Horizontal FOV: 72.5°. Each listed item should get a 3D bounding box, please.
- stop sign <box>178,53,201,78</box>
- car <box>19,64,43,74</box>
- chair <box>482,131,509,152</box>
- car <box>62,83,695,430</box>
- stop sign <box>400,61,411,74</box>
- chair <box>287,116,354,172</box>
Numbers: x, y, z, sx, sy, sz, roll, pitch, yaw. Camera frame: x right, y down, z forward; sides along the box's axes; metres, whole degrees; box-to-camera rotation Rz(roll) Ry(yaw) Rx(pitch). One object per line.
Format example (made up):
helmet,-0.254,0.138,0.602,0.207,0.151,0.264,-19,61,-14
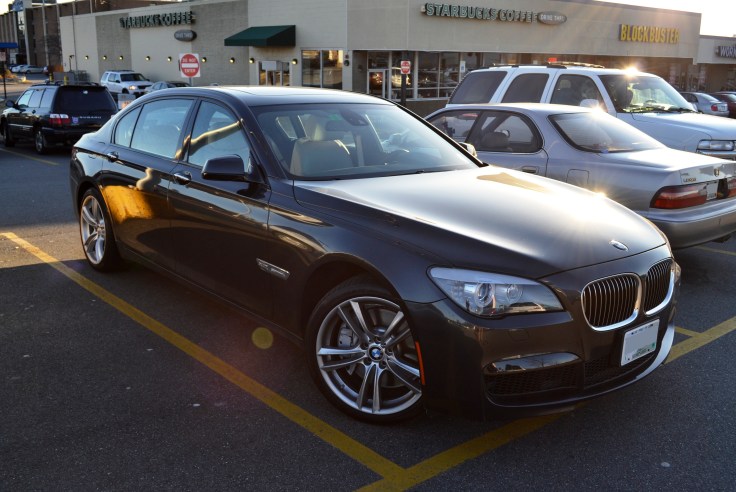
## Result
stop sign,-6.883,-6.986,19.247,0.687,0.805,1.387,-6,19,-21
car,-61.427,-32.264,91.595,3.345,1.410,5.105,-10,20,-32
chair,1.754,-1.470,6.946,0.309,0.231,0.298,14,20,32
car,-0.515,-0.254,4.494,4.960,1.500,2.616,16,20,41
stop sign,1.760,-8.806,24.628,0.405,0.556,0.816,0,17,-4
chair,-0.435,-0.859,4.248,0.378,0.358,0.518,-13,32,-27
